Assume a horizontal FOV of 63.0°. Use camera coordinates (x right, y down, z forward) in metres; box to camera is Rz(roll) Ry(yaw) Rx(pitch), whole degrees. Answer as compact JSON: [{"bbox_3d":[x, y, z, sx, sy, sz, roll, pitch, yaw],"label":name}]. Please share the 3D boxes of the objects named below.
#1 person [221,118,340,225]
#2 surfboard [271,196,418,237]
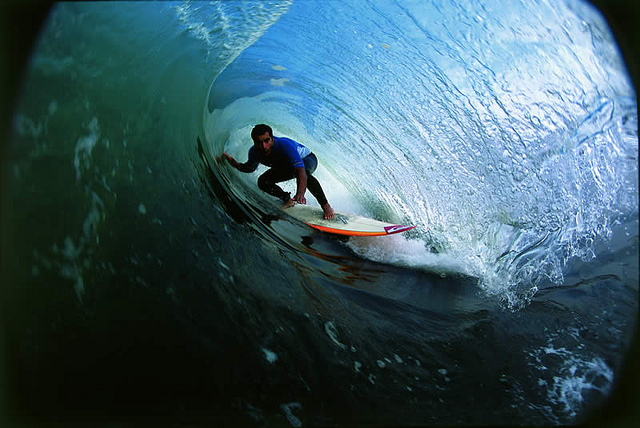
[{"bbox_3d":[-0.270,-0.259,3.500,0.816,0.668,0.621,-4,15,37],"label":"person"},{"bbox_3d":[0.203,0.018,3.430,0.806,0.142,0.087,13,1,4],"label":"surfboard"}]
